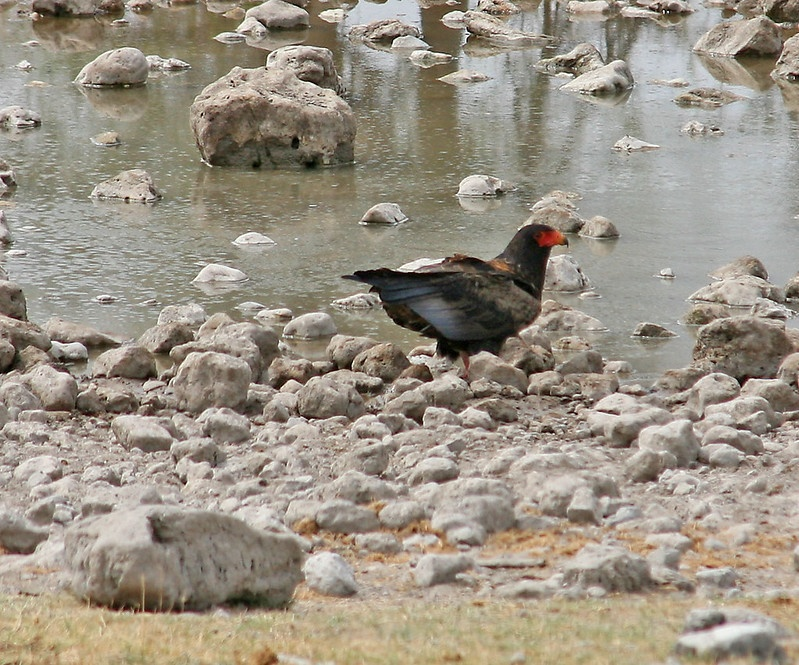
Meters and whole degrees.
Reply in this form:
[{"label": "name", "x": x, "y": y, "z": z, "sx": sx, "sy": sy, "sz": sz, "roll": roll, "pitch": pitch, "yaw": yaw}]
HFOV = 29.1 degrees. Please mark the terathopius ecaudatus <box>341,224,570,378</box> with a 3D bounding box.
[{"label": "terathopius ecaudatus", "x": 0.564, "y": -0.259, "z": 13.661, "sx": 1.749, "sy": 1.358, "sz": 0.682, "roll": -3, "pitch": 8, "yaw": -37}]
